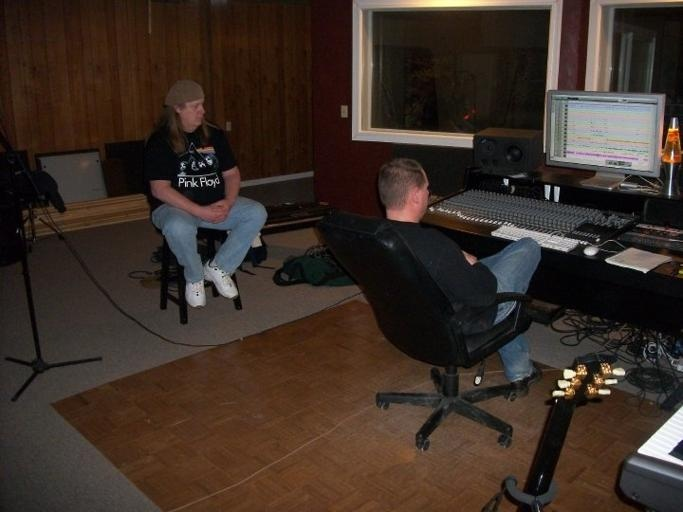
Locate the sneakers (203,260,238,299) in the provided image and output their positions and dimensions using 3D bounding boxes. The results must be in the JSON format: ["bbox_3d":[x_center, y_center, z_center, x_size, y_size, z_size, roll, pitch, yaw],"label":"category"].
[{"bbox_3d":[-0.819,0.149,3.576,0.339,0.150,0.127,33,37,26],"label":"sneakers"}]

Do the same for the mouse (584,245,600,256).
[{"bbox_3d":[1.165,-0.033,2.450,0.058,0.015,0.057,-9,32,11],"label":"mouse"}]

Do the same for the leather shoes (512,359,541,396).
[{"bbox_3d":[0.933,0.624,2.663,0.243,0.107,0.082,-33,40,-31],"label":"leather shoes"}]

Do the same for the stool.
[{"bbox_3d":[-1.034,0.117,3.691,0.464,0.567,0.494,8,16,38],"label":"stool"}]

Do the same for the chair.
[{"bbox_3d":[0.343,0.138,2.704,1.118,1.225,0.857,-18,27,-30],"label":"chair"}]

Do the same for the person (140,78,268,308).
[{"bbox_3d":[-0.913,-0.436,3.521,0.717,1.397,0.602,-11,22,-23],"label":"person"}]

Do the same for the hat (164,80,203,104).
[{"bbox_3d":[-1.038,-1.078,3.429,0.239,0.128,0.162,-21,41,-9],"label":"hat"}]

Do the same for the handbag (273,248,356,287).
[{"bbox_3d":[-0.175,0.096,4.256,0.631,0.246,0.782,4,13,18],"label":"handbag"}]

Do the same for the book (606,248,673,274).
[{"bbox_3d":[1.349,0.024,2.374,0.258,0.042,0.193,-16,25,-35],"label":"book"}]

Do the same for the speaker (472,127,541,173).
[{"bbox_3d":[1.030,-0.642,3.247,0.367,0.249,0.223,11,27,34],"label":"speaker"}]

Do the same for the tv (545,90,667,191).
[{"bbox_3d":[1.455,-0.656,2.925,0.188,0.517,0.677,-24,26,-24],"label":"tv"}]

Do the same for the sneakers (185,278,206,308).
[{"bbox_3d":[-0.961,0.248,3.429,0.089,0.225,0.098,-5,1,-1],"label":"sneakers"}]
